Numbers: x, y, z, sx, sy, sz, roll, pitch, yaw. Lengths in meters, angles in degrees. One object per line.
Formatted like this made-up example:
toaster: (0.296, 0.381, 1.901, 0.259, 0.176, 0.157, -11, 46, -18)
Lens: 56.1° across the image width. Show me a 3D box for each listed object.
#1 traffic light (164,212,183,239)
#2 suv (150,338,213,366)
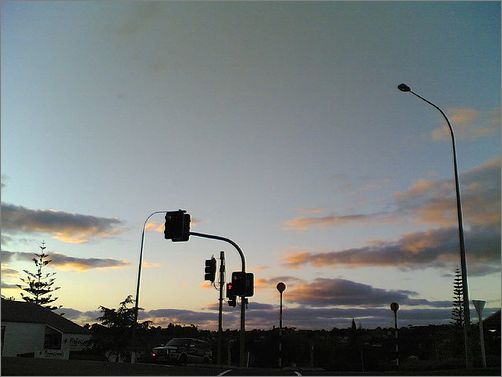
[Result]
traffic light: (-4.176, 1.954, 25.341, 0.986, 1.497, 0.582, 4, -23, -8)
suv: (-5.294, 12.625, 36.478, 1.687, 2.041, 4.751, -18, -29, 37)
